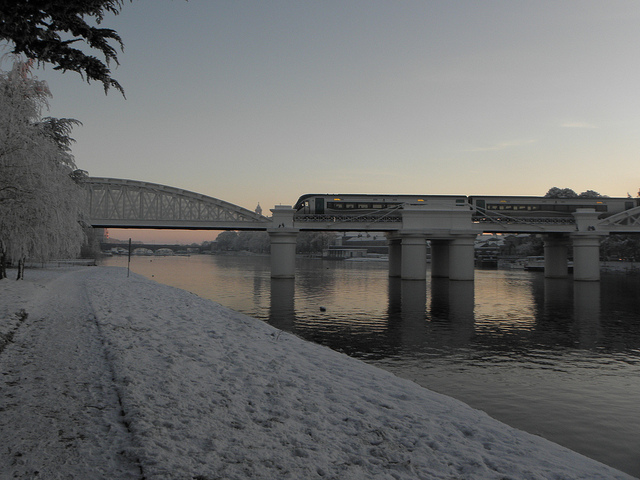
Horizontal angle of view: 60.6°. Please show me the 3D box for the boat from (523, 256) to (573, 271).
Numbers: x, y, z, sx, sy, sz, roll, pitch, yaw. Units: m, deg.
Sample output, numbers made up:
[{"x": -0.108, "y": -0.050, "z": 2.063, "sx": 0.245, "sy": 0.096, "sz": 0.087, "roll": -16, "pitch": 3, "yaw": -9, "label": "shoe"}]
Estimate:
[{"x": 34.138, "y": 3.503, "z": 81.806, "sx": 6.556, "sy": 1.357, "sz": 3.535, "roll": -2, "pitch": 2, "yaw": -14, "label": "boat"}]

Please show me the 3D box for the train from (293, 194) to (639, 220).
[{"x": 14.041, "y": -3.413, "z": 58.152, "sx": 36.233, "sy": 3.097, "sz": 5.143, "roll": 0, "pitch": -3, "yaw": -3, "label": "train"}]
